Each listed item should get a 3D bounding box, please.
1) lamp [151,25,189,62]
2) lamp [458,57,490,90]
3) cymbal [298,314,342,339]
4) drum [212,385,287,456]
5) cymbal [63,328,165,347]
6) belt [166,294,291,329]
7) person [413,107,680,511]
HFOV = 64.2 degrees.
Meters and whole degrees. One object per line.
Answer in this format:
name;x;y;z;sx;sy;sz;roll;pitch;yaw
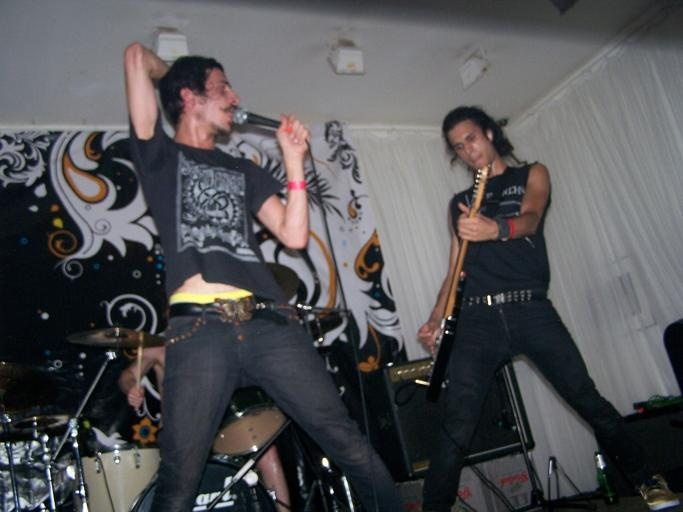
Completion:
lamp;-1.130;-1.385;3.693;0.247;0.195;0.263;-3;0;22
lamp;1.083;-1.492;4.438;0.164;0.185;0.048;-38;-46;26
cymbal;-0.106;0.391;3.071;0.194;0.079;0.153;0;-18;1
drum;-0.520;0.943;3.151;0.308;0.379;0.399;-25;-10;-38
cymbal;-1.344;0.507;3.317;0.287;0.075;0.281;12;-19;-37
belt;-0.439;0.231;2.278;0.329;0.098;0.203;0;-7;-11
person;0.999;0.137;3.300;1.217;2.564;0.671;-7;-12;11
